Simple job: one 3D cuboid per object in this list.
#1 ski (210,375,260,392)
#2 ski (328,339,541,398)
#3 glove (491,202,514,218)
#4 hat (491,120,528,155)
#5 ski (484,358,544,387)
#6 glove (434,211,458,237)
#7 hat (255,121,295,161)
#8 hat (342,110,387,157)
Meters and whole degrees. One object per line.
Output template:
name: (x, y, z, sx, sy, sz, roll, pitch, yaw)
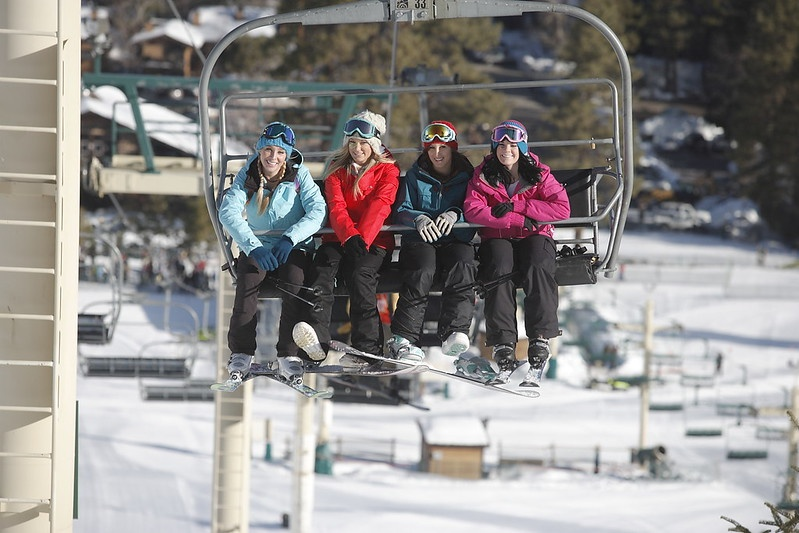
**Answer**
ski: (-5.512, 3.801, 61.807, 1.375, 0.684, 3.248, 2, 0, -4)
ski: (1.141, 3.322, 60.552, 6.978, 1.180, 1.537, 6, 0, 8)
glove: (3.334, -1.829, 60.449, 0.708, 0.497, 0.103, 2, 0, -9)
hat: (3.695, -4.276, 60.950, 1.049, 0.936, 1.108, 6, -24, 15)
ski: (3.717, 3.440, 61.271, 1.275, 0.479, 1.653, 3, 27, 23)
glove: (1.512, -1.438, 60.415, 0.537, 0.874, 0.253, 19, -5, 6)
hat: (-4.055, -3.976, 60.846, 1.395, 0.775, 1.144, 9, 17, 42)
hat: (-1.383, -4.313, 60.986, 1.105, 1.601, 1.628, 3, 26, 27)
